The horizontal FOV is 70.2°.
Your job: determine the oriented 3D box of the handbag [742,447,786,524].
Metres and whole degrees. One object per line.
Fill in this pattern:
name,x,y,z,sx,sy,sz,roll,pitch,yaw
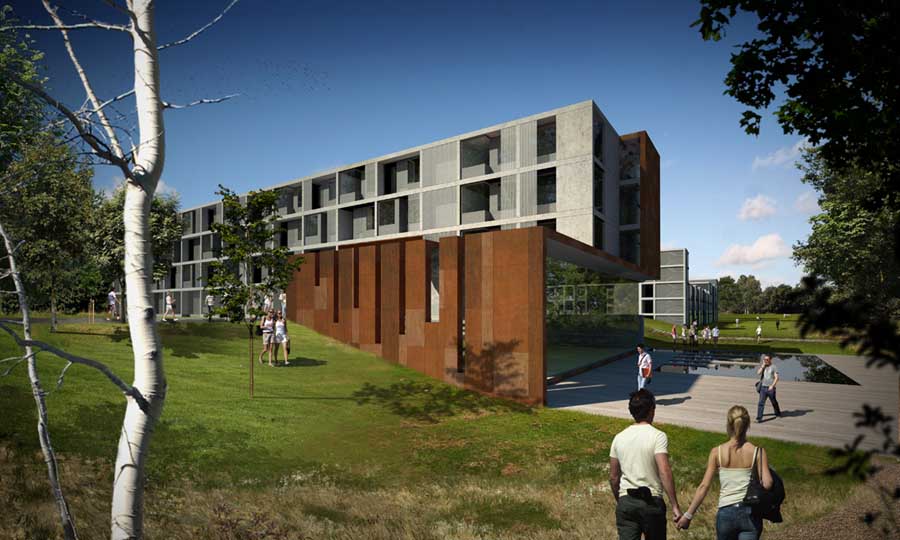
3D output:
handbag,7.270,4.866,15.109,0.760,1.653,1.411,-9,-3,9
